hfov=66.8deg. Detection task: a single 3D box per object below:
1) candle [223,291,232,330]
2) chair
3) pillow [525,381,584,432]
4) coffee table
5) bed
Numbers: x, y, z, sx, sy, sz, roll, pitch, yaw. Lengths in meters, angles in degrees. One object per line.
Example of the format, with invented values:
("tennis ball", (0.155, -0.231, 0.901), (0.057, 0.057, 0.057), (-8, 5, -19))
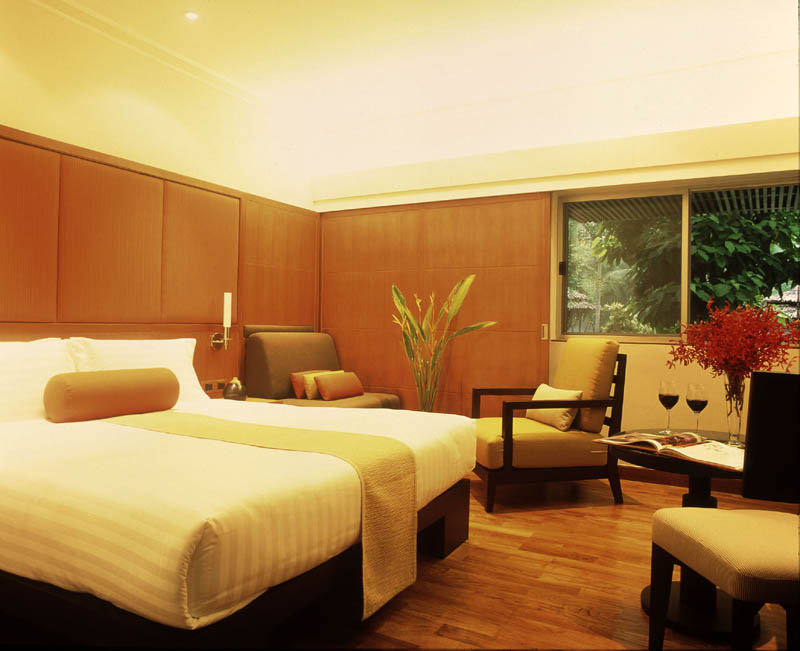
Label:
("candle", (-1.277, -0.116, 4.524), (0.072, 0.286, 0.269), (-1, 4, -16))
("chair", (0.953, 0.624, 4.292), (1.026, 1.047, 1.073), (1, 0, -15))
("pillow", (1.039, 0.523, 4.162), (0.193, 0.317, 0.502), (1, 8, -25))
("coffee table", (1.146, 0.884, 2.748), (0.669, 0.617, 0.695), (0, -4, -4))
("bed", (-0.501, 0.847, 2.522), (1.001, 0.741, 1.732), (2, 4, 31))
